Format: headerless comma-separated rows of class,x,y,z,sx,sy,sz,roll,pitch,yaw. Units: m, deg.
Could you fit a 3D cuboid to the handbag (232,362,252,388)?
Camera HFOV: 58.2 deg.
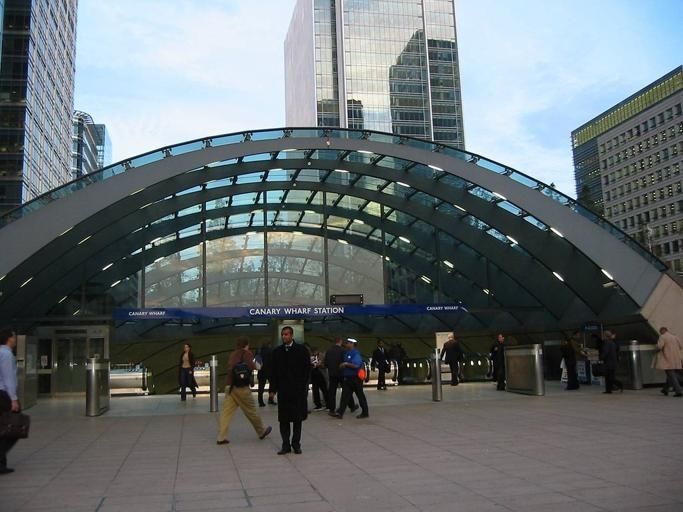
handbag,-2.005,2.385,12.299,0.523,0.529,0.300,0,-10,-20

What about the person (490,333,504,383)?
person,5.729,3.843,22.357,0.414,1.934,1.015,-3,-7,11

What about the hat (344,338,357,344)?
hat,0.284,2.198,15.893,0.221,0.096,0.284,-4,-12,30

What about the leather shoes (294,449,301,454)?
leather shoes,-0.790,3.512,11.074,0.132,0.081,0.168,-1,-6,-4

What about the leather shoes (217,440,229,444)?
leather shoes,-2.330,3.674,12.165,0.258,0.097,0.088,1,1,-20

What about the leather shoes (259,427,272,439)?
leather shoes,-1.579,3.655,12.656,0.112,0.312,0.173,40,9,-22

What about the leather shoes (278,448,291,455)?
leather shoes,-1.023,3.480,10.954,0.212,0.085,0.111,-3,-9,27

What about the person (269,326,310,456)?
person,-0.947,2.462,11.385,0.878,2.205,0.578,-2,-14,-1
